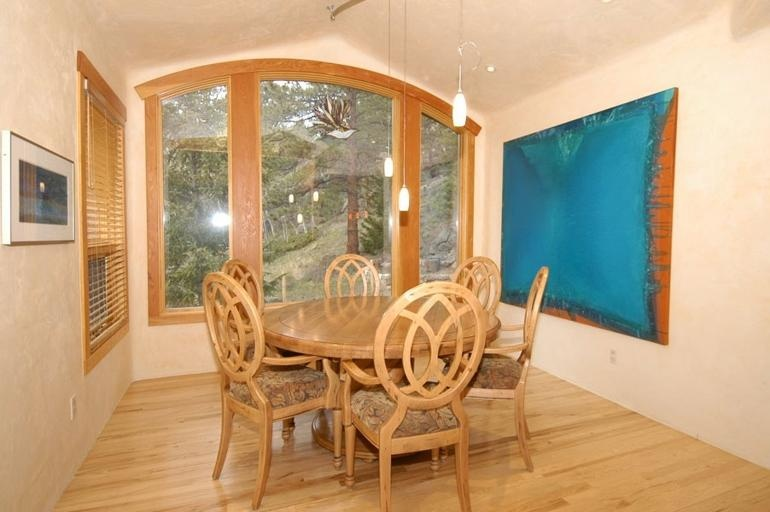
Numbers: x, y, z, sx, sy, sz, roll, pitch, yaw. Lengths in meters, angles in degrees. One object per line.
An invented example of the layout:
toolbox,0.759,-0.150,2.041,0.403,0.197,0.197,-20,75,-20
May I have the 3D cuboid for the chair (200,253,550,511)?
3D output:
chair,-0.190,0.925,3.818,2.079,1.676,0.930,0,5,13
